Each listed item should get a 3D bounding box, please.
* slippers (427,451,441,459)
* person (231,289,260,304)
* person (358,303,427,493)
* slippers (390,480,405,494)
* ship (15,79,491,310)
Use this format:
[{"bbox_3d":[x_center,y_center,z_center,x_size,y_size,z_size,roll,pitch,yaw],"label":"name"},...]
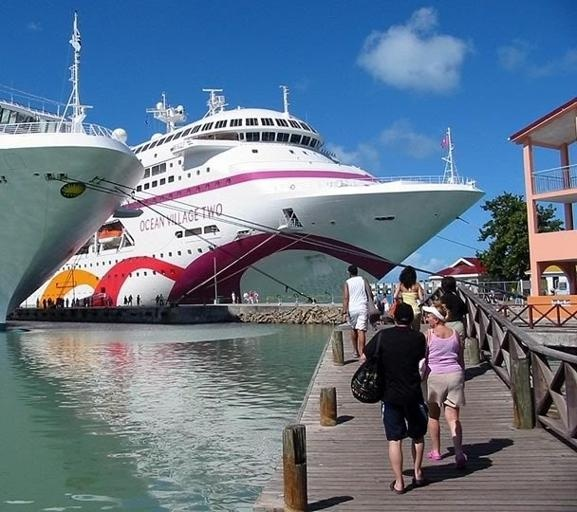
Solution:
[{"bbox_3d":[1.494,2.019,6.602,0.072,0.052,0.144,0,-1,-10],"label":"slippers"},{"bbox_3d":[-2.044,1.956,30.781,1.425,0.584,0.603,0,-10,15],"label":"person"},{"bbox_3d":[0.936,1.285,5.956,0.682,1.701,0.357,-1,-8,2],"label":"person"},{"bbox_3d":[0.991,2.091,5.919,0.113,0.092,0.255,0,-6,-9],"label":"slippers"},{"bbox_3d":[-4.630,-2.368,35.641,34.931,10.070,7.748,-2,0,42],"label":"ship"}]
